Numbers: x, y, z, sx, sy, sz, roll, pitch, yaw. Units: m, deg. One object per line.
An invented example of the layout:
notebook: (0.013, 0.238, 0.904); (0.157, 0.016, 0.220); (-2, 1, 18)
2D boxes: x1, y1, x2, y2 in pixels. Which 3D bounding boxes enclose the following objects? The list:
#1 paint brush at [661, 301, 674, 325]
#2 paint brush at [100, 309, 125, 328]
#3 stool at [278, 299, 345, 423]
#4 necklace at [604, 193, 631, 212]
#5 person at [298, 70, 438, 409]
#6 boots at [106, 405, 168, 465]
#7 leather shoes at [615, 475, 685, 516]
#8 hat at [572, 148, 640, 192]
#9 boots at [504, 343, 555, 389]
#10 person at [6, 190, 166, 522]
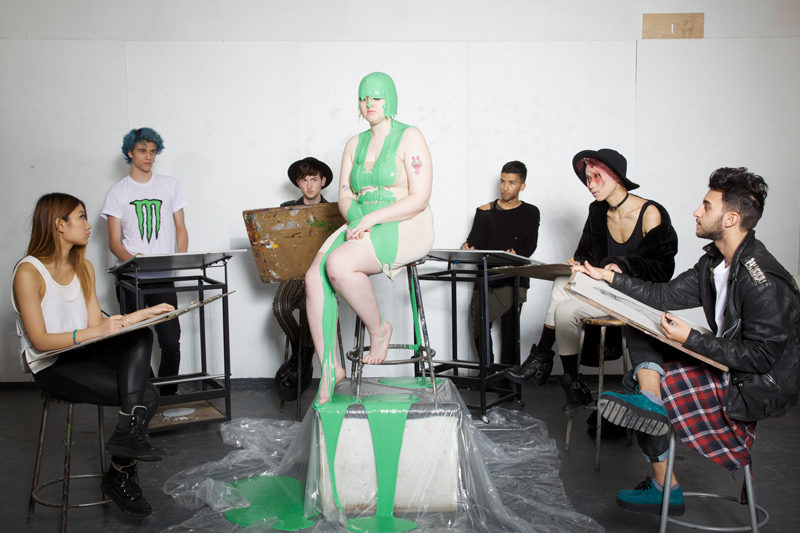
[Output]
paint brush: (1.418, 0.243, 3.241); (0.065, 0.120, 0.120); (-1, -9, 2)
paint brush: (-1.783, 0.316, 3.773); (0.130, 0.074, 0.098); (5, -14, 19)
stool: (-0.679, 0.896, 4.834); (0.294, 1.516, 0.577); (-1, -3, 10)
necklace: (1.519, -0.442, 4.254); (0.136, 0.048, 0.140); (-24, 0, -1)
person: (-0.194, -0.178, 3.514); (0.754, 1.817, 0.382); (-6, 13, -24)
boots: (-1.458, 0.899, 3.322); (0.261, 0.242, 0.298); (-7, 14, -28)
leather shoes: (1.352, 1.239, 3.393); (0.382, 0.225, 0.183); (1, -3, 13)
hat: (1.436, -0.701, 4.307); (0.564, 0.230, 0.457); (13, 9, 12)
boots: (1.000, 0.734, 4.557); (0.447, 0.336, 0.183); (2, 0, -8)
person: (-1.719, 0.496, 3.456); (0.889, 1.777, 0.529); (7, 14, 33)
